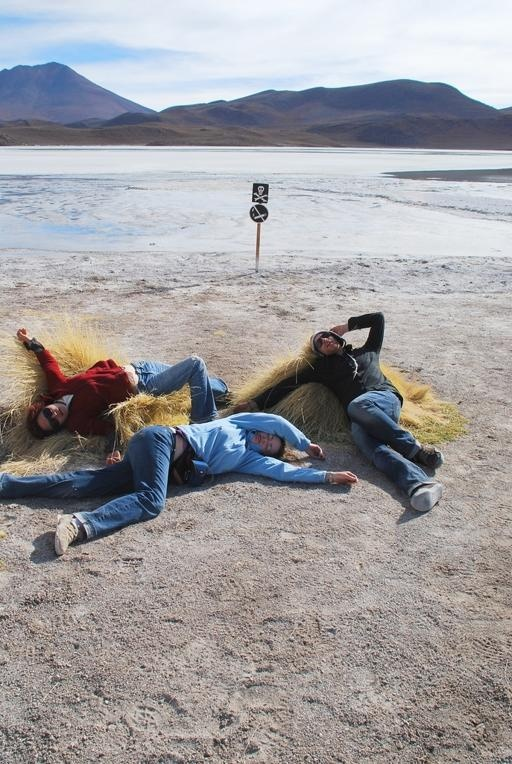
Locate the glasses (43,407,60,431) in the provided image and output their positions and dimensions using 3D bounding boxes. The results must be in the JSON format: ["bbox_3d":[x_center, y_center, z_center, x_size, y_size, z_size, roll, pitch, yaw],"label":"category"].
[{"bbox_3d":[-1.415,0.254,4.656,0.113,0.039,0.148,37,21,-53],"label":"glasses"}]

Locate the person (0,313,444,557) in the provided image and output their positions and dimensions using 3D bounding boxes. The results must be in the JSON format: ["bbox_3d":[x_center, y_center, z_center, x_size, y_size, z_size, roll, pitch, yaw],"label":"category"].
[{"bbox_3d":[0.020,0.405,4.312,2.458,0.594,1.336,-7,20,-26],"label":"person"}]

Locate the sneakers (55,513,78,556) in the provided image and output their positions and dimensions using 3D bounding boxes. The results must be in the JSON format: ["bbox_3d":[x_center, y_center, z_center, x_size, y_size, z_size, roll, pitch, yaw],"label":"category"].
[{"bbox_3d":[-0.963,0.790,3.473,0.110,0.081,0.226,-3,47,-5],"label":"sneakers"}]

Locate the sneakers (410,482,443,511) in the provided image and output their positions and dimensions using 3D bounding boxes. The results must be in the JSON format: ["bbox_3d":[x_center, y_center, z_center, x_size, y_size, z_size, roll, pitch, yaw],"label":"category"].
[{"bbox_3d":[1.018,0.679,4.044,0.211,0.113,0.084,-34,10,-40],"label":"sneakers"}]

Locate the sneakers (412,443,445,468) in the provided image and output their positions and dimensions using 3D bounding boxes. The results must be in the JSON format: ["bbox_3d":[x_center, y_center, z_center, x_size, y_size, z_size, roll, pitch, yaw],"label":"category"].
[{"bbox_3d":[1.148,0.499,4.516,0.102,0.096,0.230,8,3,-7],"label":"sneakers"}]
